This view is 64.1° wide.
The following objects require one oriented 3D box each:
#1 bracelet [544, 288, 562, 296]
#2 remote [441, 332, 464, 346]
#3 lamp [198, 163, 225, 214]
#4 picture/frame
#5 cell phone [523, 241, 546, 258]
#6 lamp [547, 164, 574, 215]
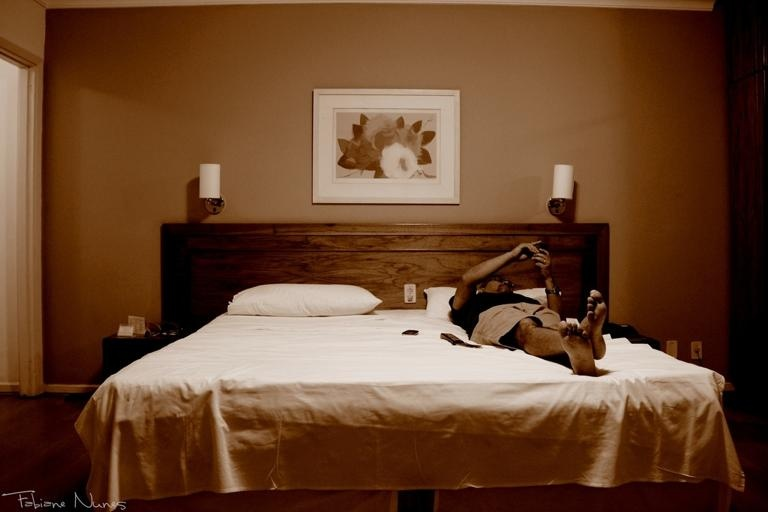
[{"bbox_3d":[1.267,0.263,4.623,0.103,0.067,0.094,0,-17,0],"label":"bracelet"},{"bbox_3d":[0.454,0.543,4.086,0.057,0.056,0.155,4,18,-39],"label":"remote"},{"bbox_3d":[-1.406,-0.541,4.999,0.197,0.401,0.165,0,1,-8],"label":"lamp"},{"bbox_3d":[-0.008,-0.924,5.050,0.932,0.688,0.034,0,-3,-2],"label":"picture/frame"},{"bbox_3d":[1.121,-0.075,4.636,0.163,0.055,0.176,-18,-15,13],"label":"cell phone"},{"bbox_3d":[1.458,-0.528,5.001,0.225,0.409,0.192,0,1,4],"label":"lamp"}]
